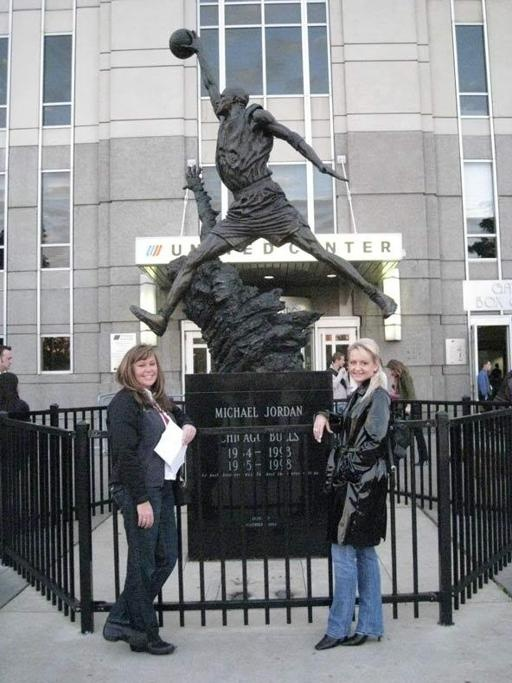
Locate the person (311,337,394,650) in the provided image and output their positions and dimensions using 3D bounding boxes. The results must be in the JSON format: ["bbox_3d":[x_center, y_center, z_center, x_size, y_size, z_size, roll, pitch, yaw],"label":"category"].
[{"bbox_3d":[0.815,1.270,9.572,0.623,2.477,0.809,3,11,24],"label":"person"}]

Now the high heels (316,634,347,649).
[{"bbox_3d":[0.627,2.509,9.577,0.283,0.129,0.105,0,-8,-16],"label":"high heels"}]

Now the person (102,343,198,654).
[{"bbox_3d":[-0.940,1.297,9.618,0.615,2.490,0.836,3,11,25],"label":"person"}]
